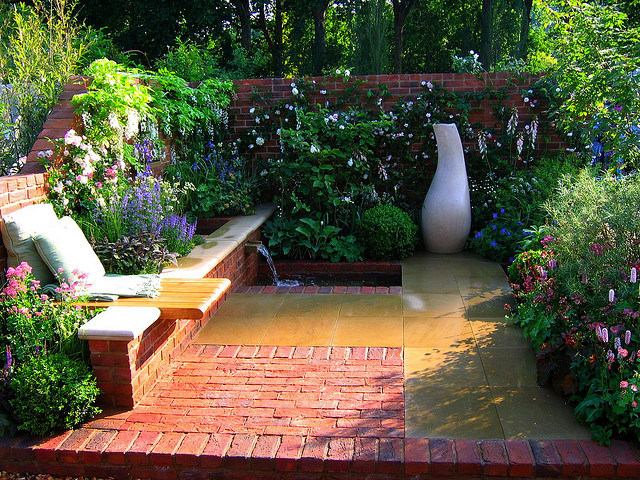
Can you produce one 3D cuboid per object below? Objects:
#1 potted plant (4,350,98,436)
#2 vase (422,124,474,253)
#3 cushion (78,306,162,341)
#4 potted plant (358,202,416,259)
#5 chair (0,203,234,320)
[{"bbox_3d":[-1.599,0.907,3.078,0.474,0.421,0.488,7,-4,-3],"label":"potted plant"},{"bbox_3d":[1.554,-0.605,5.994,0.572,1.562,0.387,1,20,11],"label":"vase"},{"bbox_3d":[-1.257,0.519,3.079,0.376,0.089,0.317,1,20,10],"label":"cushion"},{"bbox_3d":[0.763,-0.164,5.918,0.579,0.585,0.519,7,0,43],"label":"potted plant"},{"bbox_3d":[-1.472,0.185,3.406,1.225,0.558,0.816,5,8,-2],"label":"chair"}]
